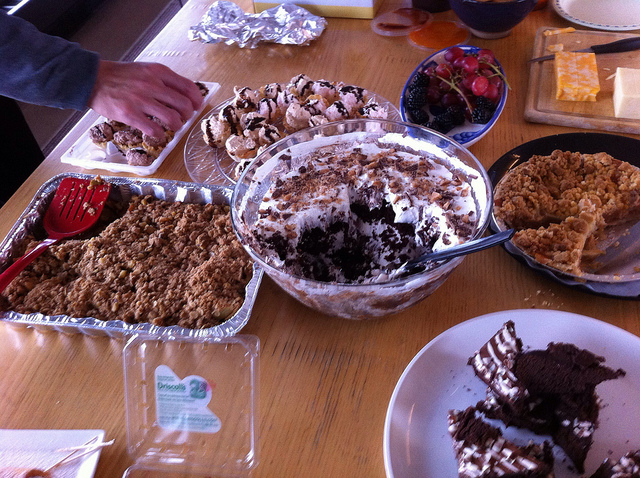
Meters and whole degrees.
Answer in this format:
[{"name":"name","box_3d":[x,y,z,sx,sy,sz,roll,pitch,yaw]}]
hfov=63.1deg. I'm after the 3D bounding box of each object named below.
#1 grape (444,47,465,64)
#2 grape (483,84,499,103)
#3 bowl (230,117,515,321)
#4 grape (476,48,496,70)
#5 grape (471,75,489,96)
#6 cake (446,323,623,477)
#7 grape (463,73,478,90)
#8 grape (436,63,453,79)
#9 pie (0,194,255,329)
[{"name":"grape","box_3d":[0.521,-0.707,2.028,0.071,0.053,0.060,-9,98,-36]},{"name":"grape","box_3d":[0.625,-0.530,1.909,0.046,0.066,0.055,-3,77,12]},{"name":"bowl","box_3d":[0.141,-0.032,1.463,0.635,0.344,0.678,-6,41,5]},{"name":"grape","box_3d":[0.645,-0.689,1.993,0.056,0.039,0.097,3,77,9]},{"name":"grape","box_3d":[0.584,-0.558,1.901,0.065,0.050,0.050,-40,26,9]},{"name":"cake","box_3d":[0.516,0.433,1.289,0.355,0.100,0.405,22,72,13]},{"name":"grape","box_3d":[0.557,-0.579,1.923,0.037,0.039,0.046,-31,44,14]},{"name":"grape","box_3d":[0.473,-0.636,1.972,0.060,0.029,0.057,4,69,7]},{"name":"pie","box_3d":[-0.576,0.044,1.667,0.765,0.175,0.482,4,69,7]}]
